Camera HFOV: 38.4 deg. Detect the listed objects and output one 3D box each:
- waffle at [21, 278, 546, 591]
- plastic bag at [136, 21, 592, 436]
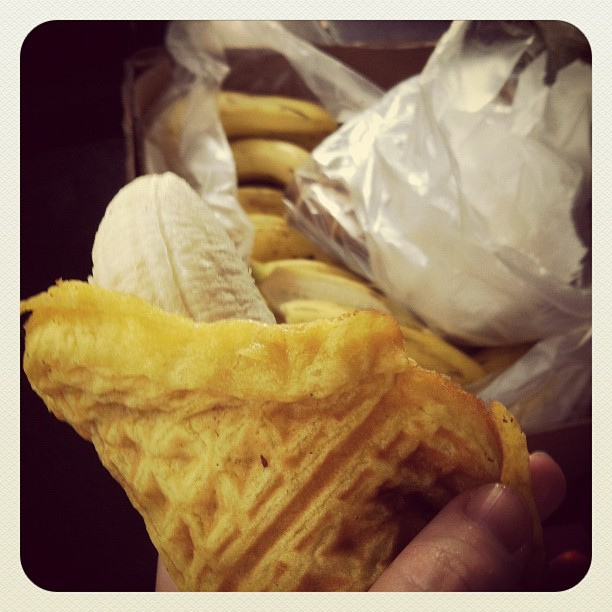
[{"bbox_3d":[-0.065,0.258,1.584,1.007,0.483,0.295,9,32,-1],"label":"waffle"},{"bbox_3d":[0.275,-0.248,1.873,0.879,0.683,1.042,-11,24,-38],"label":"plastic bag"}]
